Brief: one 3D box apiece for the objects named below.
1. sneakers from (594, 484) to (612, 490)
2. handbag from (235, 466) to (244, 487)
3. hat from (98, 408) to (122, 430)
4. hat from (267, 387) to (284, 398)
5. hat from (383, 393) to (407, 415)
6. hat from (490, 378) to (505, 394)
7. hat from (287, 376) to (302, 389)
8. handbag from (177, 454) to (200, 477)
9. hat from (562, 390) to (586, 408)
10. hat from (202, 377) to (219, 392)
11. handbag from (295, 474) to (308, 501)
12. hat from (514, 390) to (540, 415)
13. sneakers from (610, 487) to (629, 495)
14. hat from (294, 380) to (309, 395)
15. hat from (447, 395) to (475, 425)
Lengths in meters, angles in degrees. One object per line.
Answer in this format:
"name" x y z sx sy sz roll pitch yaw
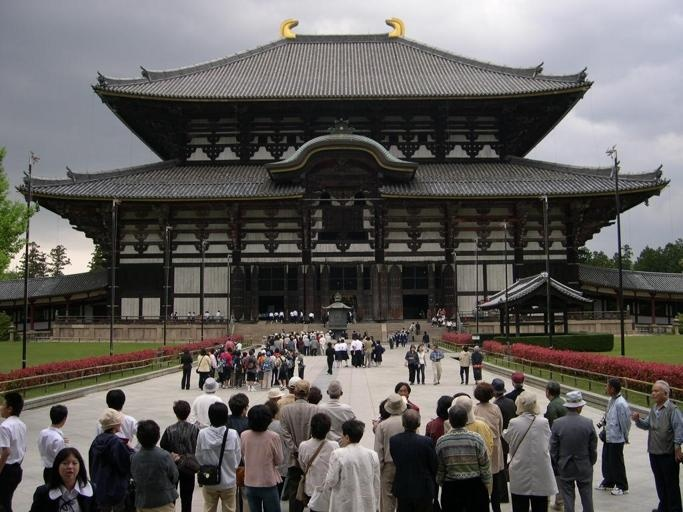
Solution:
"sneakers" 7.573 6.672 23.961 0.406 0.159 0.131 0 -6 1
"handbag" -2.645 5.770 21.740 0.180 0.528 0.356 0 -9 -4
"hat" -5.839 4.098 20.869 0.510 0.350 0.572 -3 12 43
"hat" -1.922 3.887 23.480 0.432 0.156 0.445 -2 -6 -24
"hat" 1.419 3.859 21.501 0.573 0.543 0.412 -1 -9 2
"hat" 4.442 3.670 23.424 0.339 0.431 0.933 -2 -9 10
"hat" -1.282 3.568 23.130 0.466 0.286 0.638 0 -10 -4
"handbag" -3.853 5.363 21.491 0.664 0.574 0.472 13 -13 -31
"hat" 6.206 3.843 22.225 0.515 0.266 0.525 -5 -3 3
"hat" -3.667 3.637 23.212 0.381 0.426 0.530 2 -9 -17
"handbag" -0.979 5.948 21.218 0.266 0.743 0.686 3 -10 -22
"hat" 4.931 3.874 21.912 0.565 0.608 0.465 -2 -9 7
"sneakers" 7.923 6.678 23.611 0.519 0.220 0.182 0 1 -7
"hat" -1.053 3.536 22.357 0.315 0.358 0.372 3 9 -7
"hat" 3.144 3.934 21.309 0.566 0.735 1.246 -2 -9 9
